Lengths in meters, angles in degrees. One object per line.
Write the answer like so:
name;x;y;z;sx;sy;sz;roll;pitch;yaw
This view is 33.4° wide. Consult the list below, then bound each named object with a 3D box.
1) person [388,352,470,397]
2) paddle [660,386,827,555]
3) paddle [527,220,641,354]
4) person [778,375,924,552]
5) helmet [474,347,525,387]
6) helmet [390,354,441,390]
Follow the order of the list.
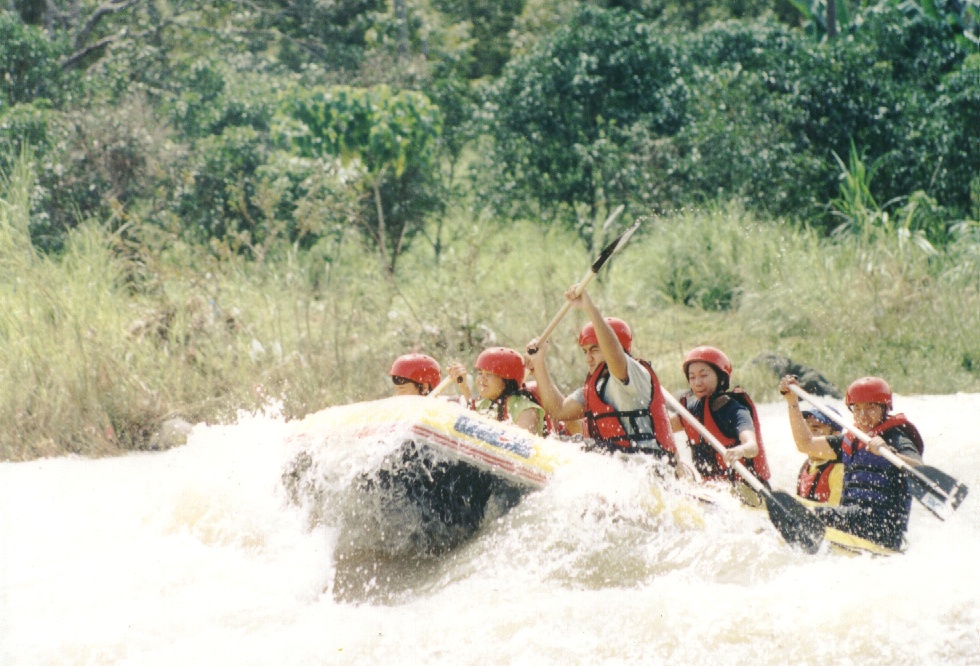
person;-0.783;0.559;21.396;1.113;0.579;0.848;10;-4;8
paddle;3.208;1.807;20.779;2.512;0.366;0.170;51;14;17
paddle;1.516;-0.666;25.262;0.238;3.372;0.434;-7;48;-43
person;4.635;1.757;20.917;0.887;1.590;1.518;19;-14;-19
helmet;0.163;0.388;20.842;0.424;0.343;0.485;22;11;42
helmet;-0.970;0.462;21.161;0.493;0.502;0.407;2;9;-19
